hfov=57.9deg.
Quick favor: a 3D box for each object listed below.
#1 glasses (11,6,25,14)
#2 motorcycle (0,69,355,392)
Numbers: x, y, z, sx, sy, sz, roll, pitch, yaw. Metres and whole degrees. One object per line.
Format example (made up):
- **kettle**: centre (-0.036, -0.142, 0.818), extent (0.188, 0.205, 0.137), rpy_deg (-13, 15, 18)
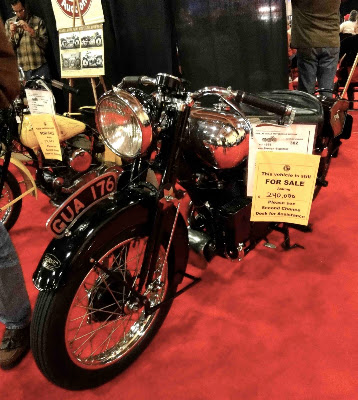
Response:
- **glasses**: centre (-1.590, -1.865, 3.171), extent (0.081, 0.093, 0.083), rpy_deg (-3, 21, 2)
- **motorcycle**: centre (0.083, -0.130, 1.518), extent (1.849, 0.840, 0.753), rpy_deg (-25, 32, -37)
